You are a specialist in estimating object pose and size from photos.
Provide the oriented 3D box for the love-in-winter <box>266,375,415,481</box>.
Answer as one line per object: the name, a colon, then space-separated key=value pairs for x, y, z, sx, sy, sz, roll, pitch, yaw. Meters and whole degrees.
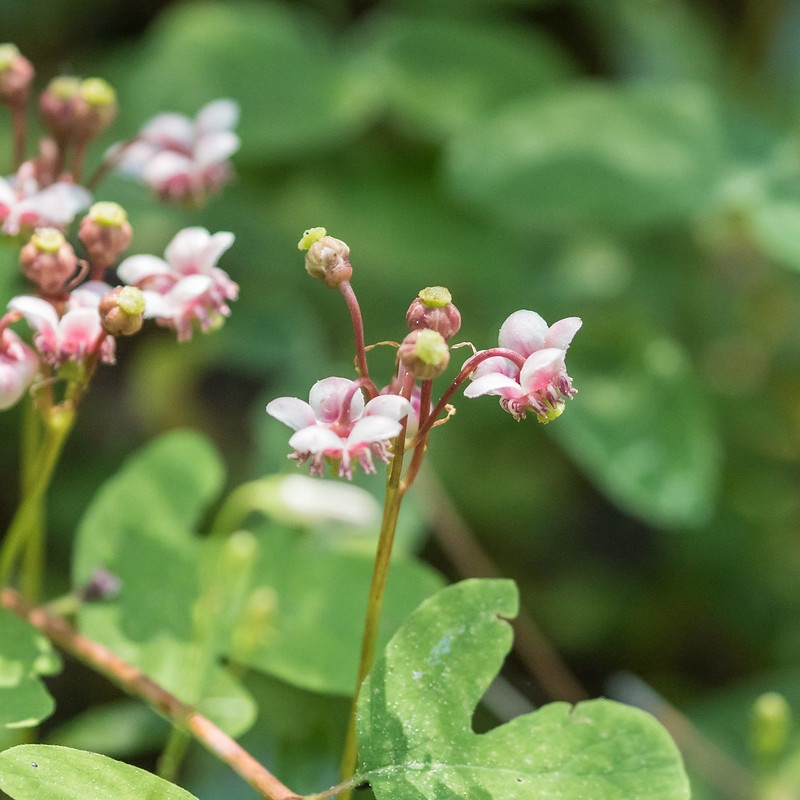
love-in-winter: x=-0.074 y=0.031 z=1.316 sx=0.151 sy=0.078 sz=0.141 roll=-21 pitch=47 yaw=-25

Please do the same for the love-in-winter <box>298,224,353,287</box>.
love-in-winter: x=-0.095 y=-0.181 z=1.349 sx=0.063 sy=0.086 sz=0.092 roll=3 pitch=34 yaw=-6

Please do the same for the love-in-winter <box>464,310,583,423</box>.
love-in-winter: x=0.157 y=-0.038 z=1.354 sx=0.135 sy=0.147 sz=0.126 roll=8 pitch=34 yaw=3

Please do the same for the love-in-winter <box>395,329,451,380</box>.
love-in-winter: x=0.029 y=-0.055 z=1.292 sx=0.060 sy=0.069 sz=0.067 roll=6 pitch=34 yaw=0

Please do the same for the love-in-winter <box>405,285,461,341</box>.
love-in-winter: x=0.032 y=-0.117 z=1.347 sx=0.067 sy=0.064 sz=0.064 roll=-4 pitch=27 yaw=-19
